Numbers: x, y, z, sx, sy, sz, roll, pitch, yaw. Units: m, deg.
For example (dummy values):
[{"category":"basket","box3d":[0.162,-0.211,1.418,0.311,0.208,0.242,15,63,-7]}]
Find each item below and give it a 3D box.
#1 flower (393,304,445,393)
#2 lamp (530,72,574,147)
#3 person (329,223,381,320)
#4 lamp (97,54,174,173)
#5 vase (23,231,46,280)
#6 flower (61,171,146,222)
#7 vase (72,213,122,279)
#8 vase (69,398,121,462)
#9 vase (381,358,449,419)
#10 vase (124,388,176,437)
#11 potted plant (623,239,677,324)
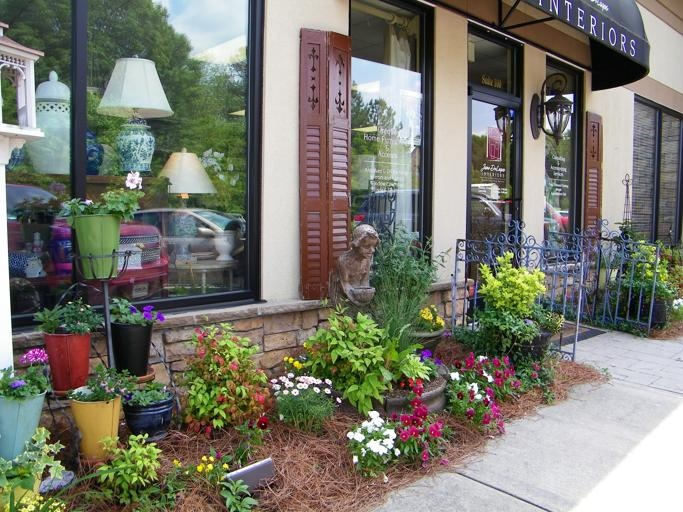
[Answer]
[{"category":"flower","box3d":[0.796,0.824,4.858,0.510,0.455,0.561,0,1,-20]},{"category":"lamp","box3d":[3.167,-2.253,7.712,0.481,1.090,1.069,1,4,32]},{"category":"person","box3d":[0.103,0.121,4.651,0.431,0.802,0.392,-1,3,-2]},{"category":"lamp","box3d":[-1.741,-1.187,4.483,0.539,0.973,0.583,7,4,33]},{"category":"vase","box3d":[-2.338,0.005,3.949,0.154,0.359,0.195,5,-12,-33]},{"category":"flower","box3d":[-1.767,-0.361,3.611,0.476,0.430,0.513,4,7,41]},{"category":"vase","box3d":[-1.626,-0.049,3.690,0.396,0.542,0.376,-1,-3,-4]},{"category":"vase","box3d":[-1.560,1.120,3.484,0.318,0.408,0.365,0,-3,-2]},{"category":"vase","box3d":[0.686,1.140,4.355,0.309,0.300,0.826,1,4,36]},{"category":"vase","box3d":[-1.356,1.114,3.683,0.322,0.283,0.343,-1,3,12]},{"category":"potted plant","box3d":[4.160,0.400,7.097,0.602,1.149,1.065,1,4,42]}]
